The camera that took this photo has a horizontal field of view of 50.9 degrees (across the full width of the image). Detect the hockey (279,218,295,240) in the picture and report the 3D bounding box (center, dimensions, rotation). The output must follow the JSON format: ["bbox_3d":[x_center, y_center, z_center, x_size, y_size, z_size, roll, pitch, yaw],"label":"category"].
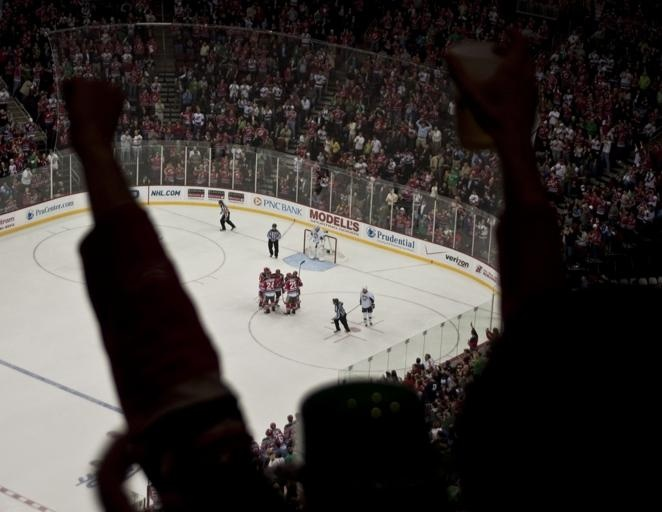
[{"bbox_3d":[-2.361,-1.400,37.590,0.047,0.153,1.957,-5,37,25],"label":"hockey"}]

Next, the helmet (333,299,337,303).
[{"bbox_3d":[0.159,1.737,26.848,0.146,0.167,0.178,-1,-6,1],"label":"helmet"}]

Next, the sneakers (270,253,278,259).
[{"bbox_3d":[-2.778,0.036,34.140,0.403,0.211,0.148,8,4,7],"label":"sneakers"}]
